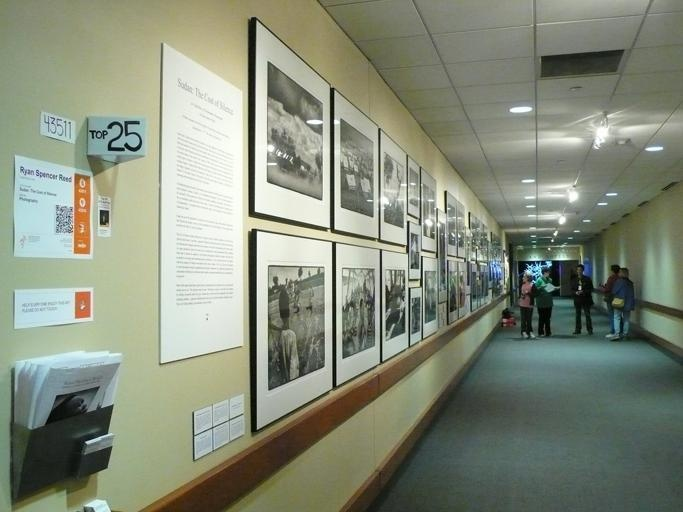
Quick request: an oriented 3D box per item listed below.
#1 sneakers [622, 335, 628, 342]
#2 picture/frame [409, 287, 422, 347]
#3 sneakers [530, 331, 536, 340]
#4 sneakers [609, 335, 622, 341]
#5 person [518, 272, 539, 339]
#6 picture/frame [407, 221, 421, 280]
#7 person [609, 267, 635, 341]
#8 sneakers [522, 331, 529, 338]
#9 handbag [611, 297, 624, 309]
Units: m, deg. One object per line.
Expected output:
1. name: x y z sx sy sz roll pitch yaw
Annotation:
1. sneakers: 7.225 2.053 12.011 0.115 0.131 0.227 -2 -3 16
2. picture/frame: 0.828 0.679 5.350 0.025 0.710 0.661 1 -1 19
3. sneakers: 5.247 2.171 13.041 0.102 0.145 0.320 1 0 22
4. sneakers: 7.047 2.082 12.253 0.198 0.086 0.162 -8 4 18
5. person: 5.285 1.343 13.463 0.414 1.748 1.414 -2 -2 22
6. picture/frame: 0.830 -0.035 5.421 0.027 0.608 0.572 -1 -3 22
7. person: 7.229 1.210 12.227 0.535 1.802 1.001 -3 -2 30
8. sneakers: 5.072 2.182 13.106 0.129 0.184 0.173 2 -31 14
9. handbag: 6.926 1.168 11.900 0.214 0.235 0.091 0 -5 0
